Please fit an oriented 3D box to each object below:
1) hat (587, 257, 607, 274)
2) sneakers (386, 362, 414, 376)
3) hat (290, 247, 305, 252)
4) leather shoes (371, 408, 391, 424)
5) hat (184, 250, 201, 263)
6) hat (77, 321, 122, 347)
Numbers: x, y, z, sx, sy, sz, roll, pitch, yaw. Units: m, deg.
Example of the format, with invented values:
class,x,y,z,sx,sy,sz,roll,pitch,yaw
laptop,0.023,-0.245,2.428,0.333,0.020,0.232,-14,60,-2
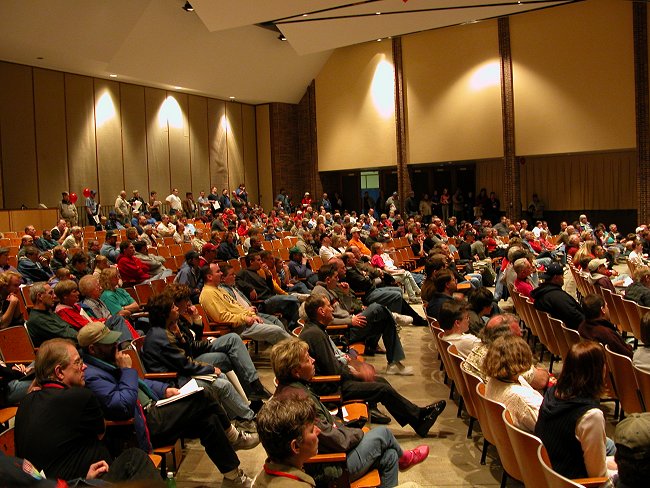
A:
class,x,y,z,sx,sy,sz,roll,pitch,yaw
hat,4.153,0.293,7.412,0.265,0.147,0.186,-48,10,4
sneakers,0.877,1.488,5.835,0.343,0.170,0.141,-1,-2,3
hat,-0.476,0.092,8.345,0.120,0.068,0.190,3,-1,36
leather shoes,0.535,1.587,4.496,0.213,0.112,0.080,1,4,11
hat,-1.917,0.188,7.037,0.187,0.110,0.138,-26,22,-21
hat,-1.554,0.598,3.330,0.221,0.139,0.154,-5,10,-15
